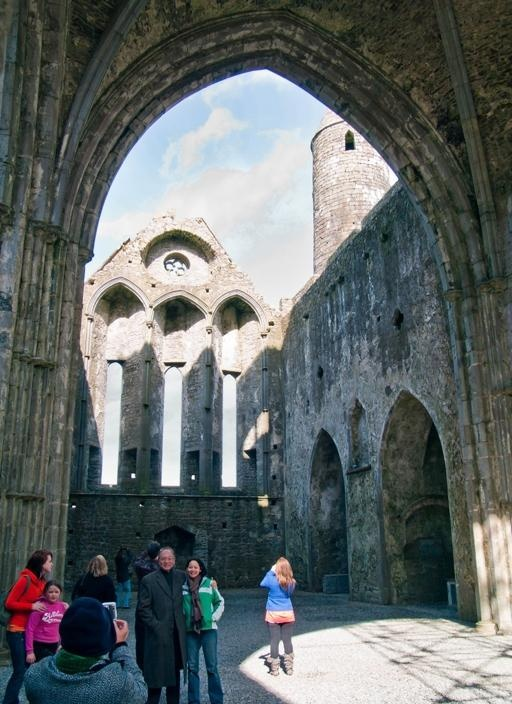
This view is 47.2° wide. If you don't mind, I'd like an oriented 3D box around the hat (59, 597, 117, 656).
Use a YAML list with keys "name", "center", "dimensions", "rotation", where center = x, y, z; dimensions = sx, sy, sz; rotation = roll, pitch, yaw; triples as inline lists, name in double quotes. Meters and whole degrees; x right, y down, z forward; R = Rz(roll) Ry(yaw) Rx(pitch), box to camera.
- name: "hat"
  center: [-0.424, 0.696, 1.496]
  dimensions: [0.141, 0.122, 0.125]
  rotation: [-4, 23, -20]

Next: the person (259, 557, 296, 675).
- name: "person"
  center: [0.212, 2.375, 5.379]
  dimensions: [0.287, 0.955, 0.762]
  rotation: [-3, -15, 2]
